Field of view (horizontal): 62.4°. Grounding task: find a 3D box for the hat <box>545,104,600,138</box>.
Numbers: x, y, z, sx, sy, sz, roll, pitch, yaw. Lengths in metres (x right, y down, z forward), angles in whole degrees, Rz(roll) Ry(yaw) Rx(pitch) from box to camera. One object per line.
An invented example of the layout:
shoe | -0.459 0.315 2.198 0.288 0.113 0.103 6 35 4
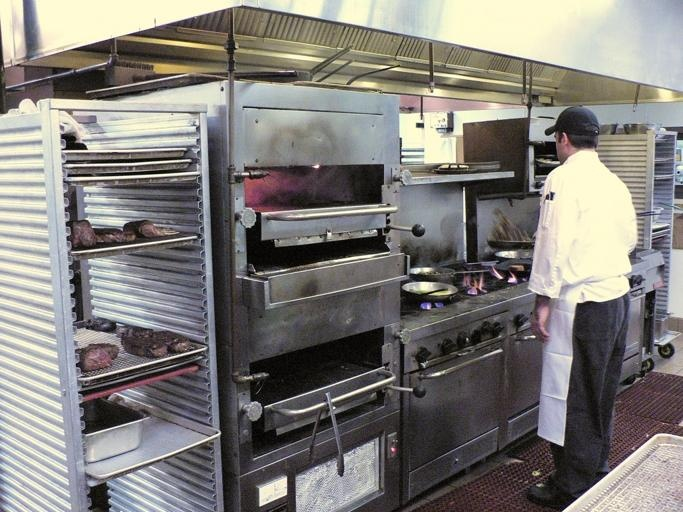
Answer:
hat | 1.093 -0.639 2.693 0.167 0.111 0.212 -13 27 -23

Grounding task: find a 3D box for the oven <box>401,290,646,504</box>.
oven | 0.820 0.683 2.735 1.224 0.499 0.388 -7 7 -43

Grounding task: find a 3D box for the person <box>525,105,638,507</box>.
person | 1.116 0.265 2.651 0.405 1.890 0.510 4 16 26

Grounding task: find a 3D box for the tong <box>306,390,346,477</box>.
tong | -0.059 0.691 2.130 0.157 0.289 0.038 -8 -20 23
